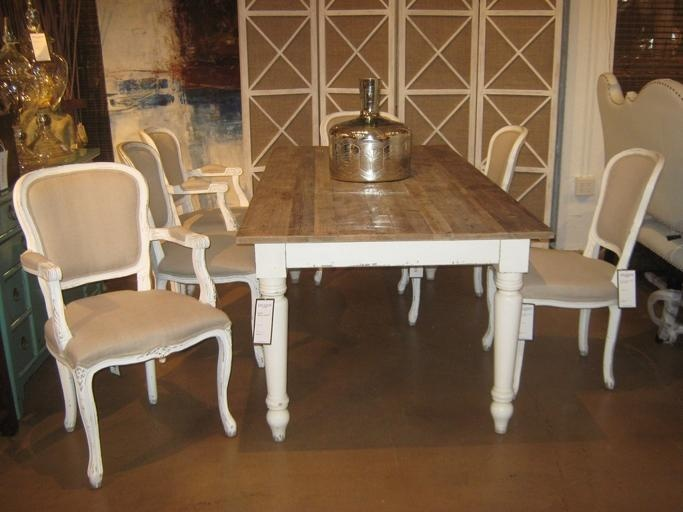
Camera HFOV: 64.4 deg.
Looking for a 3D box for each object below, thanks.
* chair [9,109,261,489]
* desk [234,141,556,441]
[{"bbox_3d":[-0.930,0.196,2.335,0.690,1.102,0.844,-17,27,-32],"label":"chair"},{"bbox_3d":[0.222,0.053,3.231,1.230,1.015,2.160,-2,18,0],"label":"desk"}]
